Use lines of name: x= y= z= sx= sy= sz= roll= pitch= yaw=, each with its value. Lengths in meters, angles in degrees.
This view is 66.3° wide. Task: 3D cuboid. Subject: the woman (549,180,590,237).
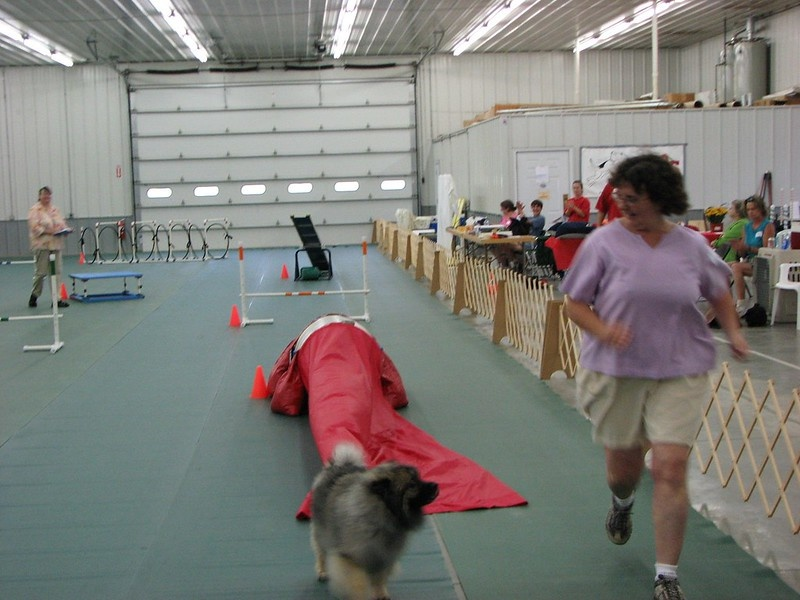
woman: x=3.756 y=-1.921 z=13.598 sx=0.789 sy=1.473 sz=0.647 roll=-2 pitch=8 yaw=-20

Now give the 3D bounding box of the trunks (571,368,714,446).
trunks: x=1.218 y=0.493 z=3.145 sx=0.610 sy=0.509 sz=0.400 roll=2 pitch=26 yaw=26

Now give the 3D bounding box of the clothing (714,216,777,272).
clothing: x=5.492 y=-0.913 z=9.810 sx=0.865 sy=1.020 sz=0.630 roll=6 pitch=3 yaw=20

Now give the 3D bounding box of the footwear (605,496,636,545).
footwear: x=1.244 y=1.260 z=3.515 sx=0.112 sy=0.230 sz=0.363 roll=-1 pitch=-8 yaw=19

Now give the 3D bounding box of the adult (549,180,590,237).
adult: x=3.775 y=-1.925 z=13.601 sx=0.762 sy=1.459 sz=0.653 roll=-2 pitch=9 yaw=-23

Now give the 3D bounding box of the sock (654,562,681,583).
sock: x=1.253 y=1.290 z=2.908 sx=0.087 sy=0.087 sz=0.087 roll=-5 pitch=0 yaw=29
